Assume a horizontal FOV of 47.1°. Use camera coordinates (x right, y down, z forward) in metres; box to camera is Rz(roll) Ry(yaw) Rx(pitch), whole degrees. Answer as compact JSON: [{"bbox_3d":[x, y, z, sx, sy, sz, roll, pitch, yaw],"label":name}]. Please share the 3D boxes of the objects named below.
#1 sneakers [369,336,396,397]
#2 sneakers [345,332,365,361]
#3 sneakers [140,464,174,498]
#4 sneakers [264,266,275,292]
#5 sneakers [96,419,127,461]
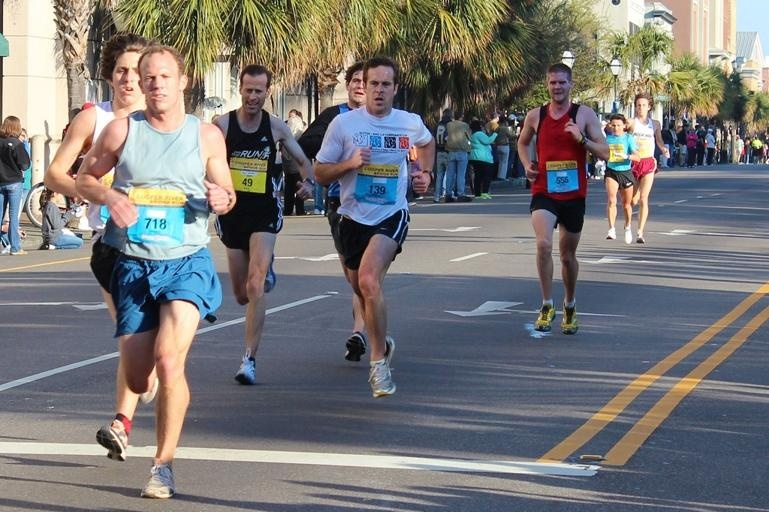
[{"bbox_3d":[-0.048,0.878,7.148,0.167,0.503,0.220,-12,-23,36],"label":"sneakers"},{"bbox_3d":[-0.271,0.824,8.075,0.138,0.153,0.302,24,-33,8],"label":"sneakers"},{"bbox_3d":[-1.265,1.275,4.959,0.103,0.124,0.277,0,-6,2],"label":"sneakers"},{"bbox_3d":[-1.012,0.210,7.825,0.134,0.182,0.068,0,4,5],"label":"sneakers"},{"bbox_3d":[-1.576,1.098,5.136,0.160,0.302,0.246,-4,11,-18],"label":"sneakers"}]
